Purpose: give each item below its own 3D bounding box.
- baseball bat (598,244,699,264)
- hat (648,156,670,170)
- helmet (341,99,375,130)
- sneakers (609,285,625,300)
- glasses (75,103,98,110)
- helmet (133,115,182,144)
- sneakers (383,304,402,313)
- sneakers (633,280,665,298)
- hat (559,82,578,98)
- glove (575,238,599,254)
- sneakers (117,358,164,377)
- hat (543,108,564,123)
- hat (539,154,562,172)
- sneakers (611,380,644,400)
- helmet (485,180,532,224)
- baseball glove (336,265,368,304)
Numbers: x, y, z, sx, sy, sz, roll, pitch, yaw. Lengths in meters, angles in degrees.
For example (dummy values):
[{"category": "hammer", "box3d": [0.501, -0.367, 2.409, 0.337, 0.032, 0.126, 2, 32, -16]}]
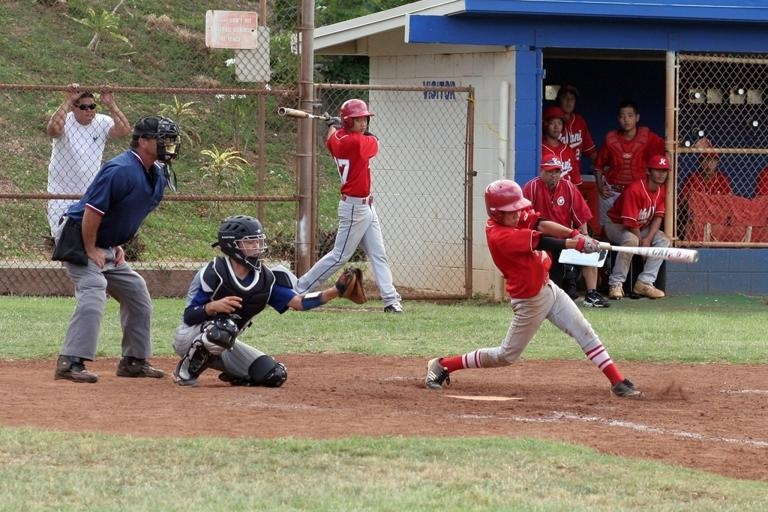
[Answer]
[{"category": "baseball bat", "box3d": [3.224, -0.036, 14.860, 1.030, 0.143, 0.141, 6, -34, 17]}, {"category": "hat", "box3d": [3.890, -1.326, 17.443, 0.273, 0.193, 0.177, 3, 5, 10]}, {"category": "helmet", "box3d": [-0.394, -1.845, 15.951, 0.372, 0.393, 0.544, 3, 5, -2]}, {"category": "sneakers", "box3d": [3.364, 0.526, 17.745, 0.150, 0.147, 0.240, 2, -8, -7]}, {"category": "glasses", "box3d": [-3.438, -1.719, 14.126, 0.239, 0.077, 0.190, 0, 6, -30]}, {"category": "helmet", "box3d": [-2.374, -1.327, 12.755, 0.392, 0.173, 0.245, -3, 4, 1]}, {"category": "sneakers", "box3d": [0.109, 0.694, 16.293, 0.250, 0.097, 0.090, -2, -2, 25]}, {"category": "sneakers", "box3d": [3.857, 0.476, 17.880, 0.447, 0.189, 0.208, 4, 9, 3]}, {"category": "hat", "box3d": [2.691, -2.440, 18.052, 0.222, 0.290, 0.308, 6, 4, 6]}, {"category": "glove", "box3d": [2.113, -0.112, 12.712, 0.227, 0.170, 0.180, 3, 5, 8]}, {"category": "sneakers", "box3d": [-2.634, 1.185, 13.262, 0.521, 0.213, 0.202, 1, 7, -7]}, {"category": "hat", "box3d": [2.429, -2.036, 17.610, 0.250, 0.201, 0.256, 3, 5, 8]}, {"category": "hat", "box3d": [2.223, -1.239, 16.264, 0.225, 0.158, 0.321, 1, 2, -6]}, {"category": "sneakers", "box3d": [2.566, 1.396, 12.978, 0.293, 0.122, 0.161, 0, 1, 36]}, {"category": "helmet", "box3d": [1.287, -0.555, 12.881, 0.522, 0.440, 0.416, -2, 14, 11]}, {"category": "baseball glove", "box3d": [-0.313, 0.298, 12.259, 0.212, 0.227, 0.409, 5, 0, -22]}]
